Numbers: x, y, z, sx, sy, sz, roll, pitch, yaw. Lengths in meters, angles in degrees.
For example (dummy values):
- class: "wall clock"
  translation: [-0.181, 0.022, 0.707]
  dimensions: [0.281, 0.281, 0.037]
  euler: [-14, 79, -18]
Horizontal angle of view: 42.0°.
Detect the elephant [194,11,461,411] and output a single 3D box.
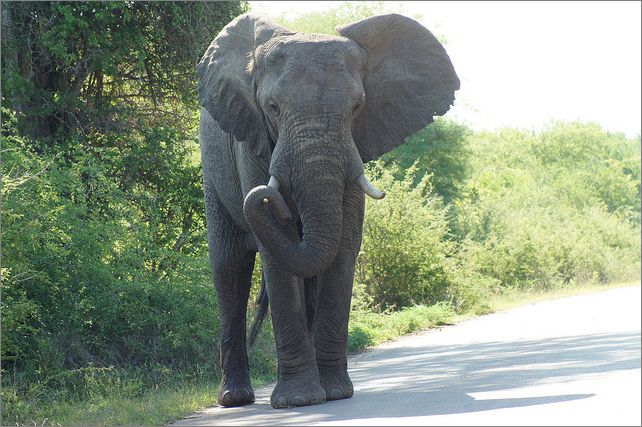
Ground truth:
- class: "elephant"
  translation: [-0.237, -0.108, 11.983]
  dimensions: [3.893, 5.551, 2.376]
  euler: [-18, -19, 39]
